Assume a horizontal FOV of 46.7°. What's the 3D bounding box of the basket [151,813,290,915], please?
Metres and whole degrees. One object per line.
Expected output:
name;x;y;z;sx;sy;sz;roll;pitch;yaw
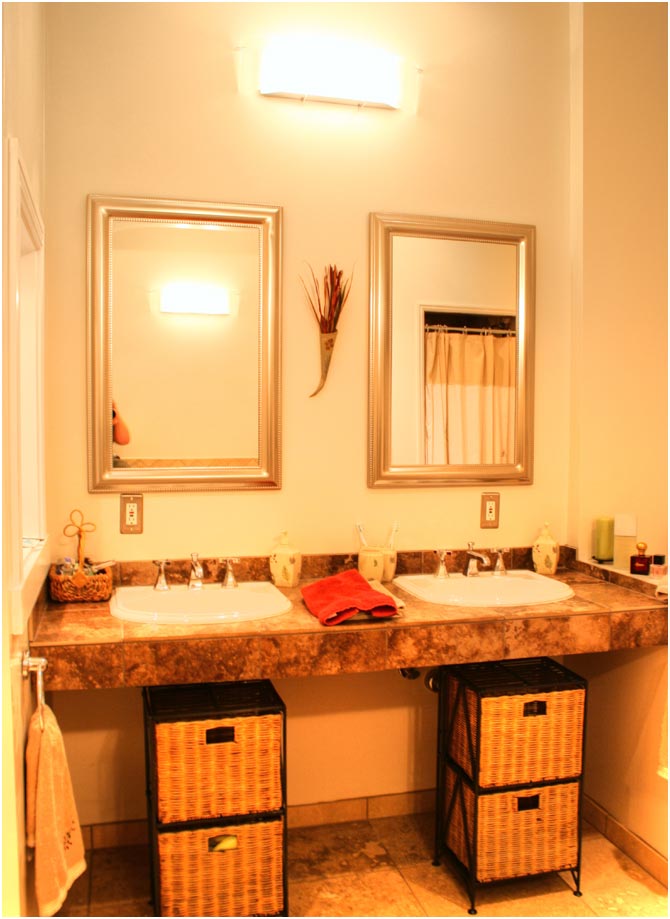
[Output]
basket;-0.255;0.845;1.804;0.313;0.300;0.200;0;-1;-9

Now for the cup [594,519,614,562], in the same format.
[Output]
cup;0.880;0.266;2.533;0.059;0.142;0.038;5;9;26

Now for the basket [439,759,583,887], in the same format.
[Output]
basket;0.469;0.968;2.008;0.247;0.257;0.276;-1;-1;-5

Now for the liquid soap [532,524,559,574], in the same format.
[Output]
liquid soap;0.696;0.294;2.569;0.088;0.145;0.151;3;9;12

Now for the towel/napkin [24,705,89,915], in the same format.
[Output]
towel/napkin;-0.558;0.698;1.526;0.091;0.416;0.150;0;8;-8

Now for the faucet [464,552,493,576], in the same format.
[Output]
faucet;0.456;0.331;2.487;0.058;0.102;0.093;1;1;-11

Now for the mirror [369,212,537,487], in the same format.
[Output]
mirror;0.355;-0.374;2.480;0.690;1.289;0.073;-1;4;-16

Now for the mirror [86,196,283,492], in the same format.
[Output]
mirror;-0.461;-0.358;2.243;0.679;1.211;0.071;-1;4;-13

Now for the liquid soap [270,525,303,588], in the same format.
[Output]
liquid soap;-0.146;0.297;2.302;0.097;0.153;0.113;1;8;-3

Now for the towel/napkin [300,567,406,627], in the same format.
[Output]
towel/napkin;0.036;0.364;2.027;0.225;0.079;0.345;0;10;-11

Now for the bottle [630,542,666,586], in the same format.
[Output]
bottle;0.936;0.317;2.323;0.055;0.130;0.118;-2;5;-17

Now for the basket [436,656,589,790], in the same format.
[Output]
basket;0.473;0.695;2.126;0.339;0.285;0.302;0;9;-14

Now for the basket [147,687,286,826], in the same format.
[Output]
basket;-0.283;0.613;1.850;0.296;0.376;0.244;-1;2;-10

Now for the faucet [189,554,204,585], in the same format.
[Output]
faucet;-0.397;0.318;2.214;0.037;0.097;0.132;0;9;-9
